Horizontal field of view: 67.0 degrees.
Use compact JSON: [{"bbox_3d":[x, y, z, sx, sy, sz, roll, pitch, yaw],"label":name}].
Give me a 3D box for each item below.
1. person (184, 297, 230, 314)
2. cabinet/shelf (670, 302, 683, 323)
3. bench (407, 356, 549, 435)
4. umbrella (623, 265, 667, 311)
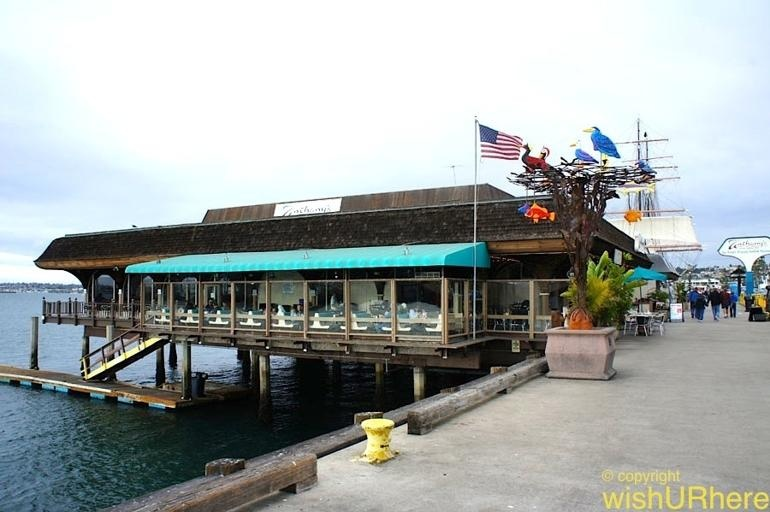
[{"bbox_3d":[-6.988,2.056,23.379,2.089,0.590,0.654,-3,0,26],"label":"person"},{"bbox_3d":[17.402,3.373,34.713,0.634,1.039,0.919,0,4,32],"label":"cabinet/shelf"},{"bbox_3d":[2.200,3.048,13.104,0.458,0.689,5.668,0,4,35],"label":"bench"},{"bbox_3d":[15.327,1.974,34.292,2.931,1.799,2.690,-1,-7,17],"label":"umbrella"}]
